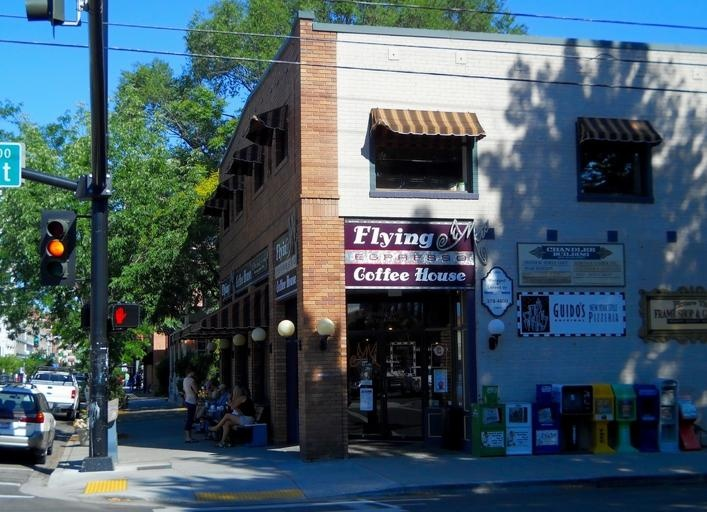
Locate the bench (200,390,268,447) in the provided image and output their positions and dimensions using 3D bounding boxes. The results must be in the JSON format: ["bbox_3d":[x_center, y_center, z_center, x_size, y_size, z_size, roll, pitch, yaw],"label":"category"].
[{"bbox_3d":[-3.569,4.726,31.478,1.363,1.746,1.633,0,-12,-8],"label":"bench"}]

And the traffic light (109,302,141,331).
[{"bbox_3d":[-5.701,1.502,26.558,0.639,0.643,0.658,0,-5,4],"label":"traffic light"}]

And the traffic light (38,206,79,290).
[{"bbox_3d":[-7.107,-0.253,25.495,0.800,1.832,0.629,3,-12,-20],"label":"traffic light"}]

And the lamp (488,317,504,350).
[{"bbox_3d":[3.836,2.076,28.569,0.472,0.785,0.426,-3,-11,7],"label":"lamp"}]
